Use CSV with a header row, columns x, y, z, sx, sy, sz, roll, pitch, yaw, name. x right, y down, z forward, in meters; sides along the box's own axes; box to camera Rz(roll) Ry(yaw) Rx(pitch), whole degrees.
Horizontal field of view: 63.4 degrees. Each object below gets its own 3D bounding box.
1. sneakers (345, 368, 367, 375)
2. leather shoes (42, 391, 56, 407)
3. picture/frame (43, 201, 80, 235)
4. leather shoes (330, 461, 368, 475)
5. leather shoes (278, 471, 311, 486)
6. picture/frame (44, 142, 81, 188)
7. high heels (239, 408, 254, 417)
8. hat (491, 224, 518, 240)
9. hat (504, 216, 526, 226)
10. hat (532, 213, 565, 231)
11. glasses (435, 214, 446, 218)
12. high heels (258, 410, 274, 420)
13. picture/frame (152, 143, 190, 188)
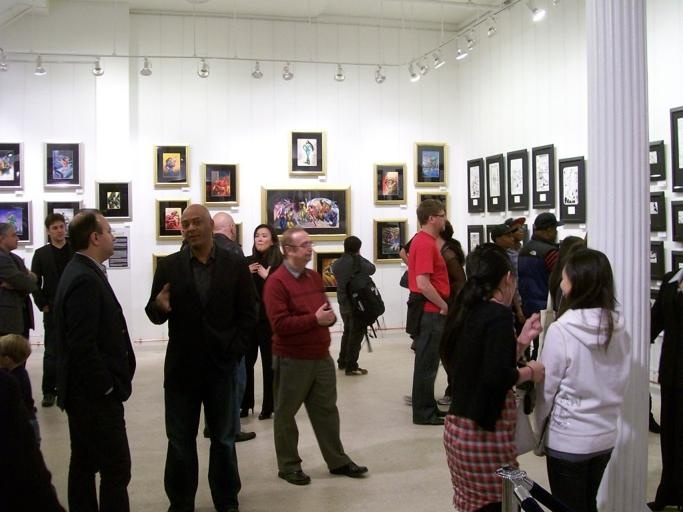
x,y,z,sx,sy,sz,roll,pitch,yaw,name
0.227,1.768,8.421,0.305,0.134,0.125,0,-2,-8,sneakers
-3.689,1.818,6.964,0.091,0.106,0.235,1,-7,-14,leather shoes
-3.986,-0.546,7.780,0.635,0.695,0.053,-1,-2,-3,picture/frame
0.055,1.931,5.069,0.302,0.133,0.145,-2,-3,10,leather shoes
-0.421,1.981,5.004,0.260,0.121,0.109,-4,-6,32,leather shoes
-5.157,-1.704,10.148,0.775,1.037,0.075,0,1,-14,picture/frame
-1.141,1.882,6.644,0.073,0.094,0.224,-1,-11,8,high heels
2.220,-0.348,7.559,0.286,0.181,0.215,-15,9,8,hat
2.697,-0.546,8.577,0.259,0.093,0.168,-10,13,37,hat
2.604,-0.439,7.015,0.295,0.182,0.196,-16,17,-27,hat
1.097,-0.436,6.119,0.051,0.061,0.229,2,7,27,glasses
-0.885,1.879,6.543,0.071,0.095,0.217,-7,-11,44,high heels
-3.287,-1.733,10.528,0.742,0.945,0.069,-2,4,-5,picture/frame
